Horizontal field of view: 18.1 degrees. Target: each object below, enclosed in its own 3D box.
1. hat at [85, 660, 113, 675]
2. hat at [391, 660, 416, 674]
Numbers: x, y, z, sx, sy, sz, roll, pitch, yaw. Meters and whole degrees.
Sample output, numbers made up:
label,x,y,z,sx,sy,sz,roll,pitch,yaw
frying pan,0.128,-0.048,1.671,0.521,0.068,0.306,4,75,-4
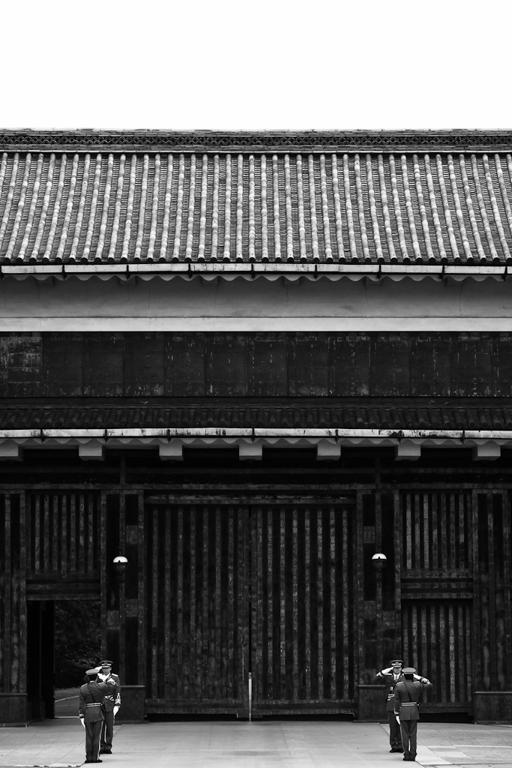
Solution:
label,x,y,z,sx,sy,sz,roll,pitch,yaw
hat,-2.277,4.188,23.478,0.347,0.302,0.576,1,-4,4
hat,2.126,4.136,23.330,0.247,0.200,0.414,0,-1,2
